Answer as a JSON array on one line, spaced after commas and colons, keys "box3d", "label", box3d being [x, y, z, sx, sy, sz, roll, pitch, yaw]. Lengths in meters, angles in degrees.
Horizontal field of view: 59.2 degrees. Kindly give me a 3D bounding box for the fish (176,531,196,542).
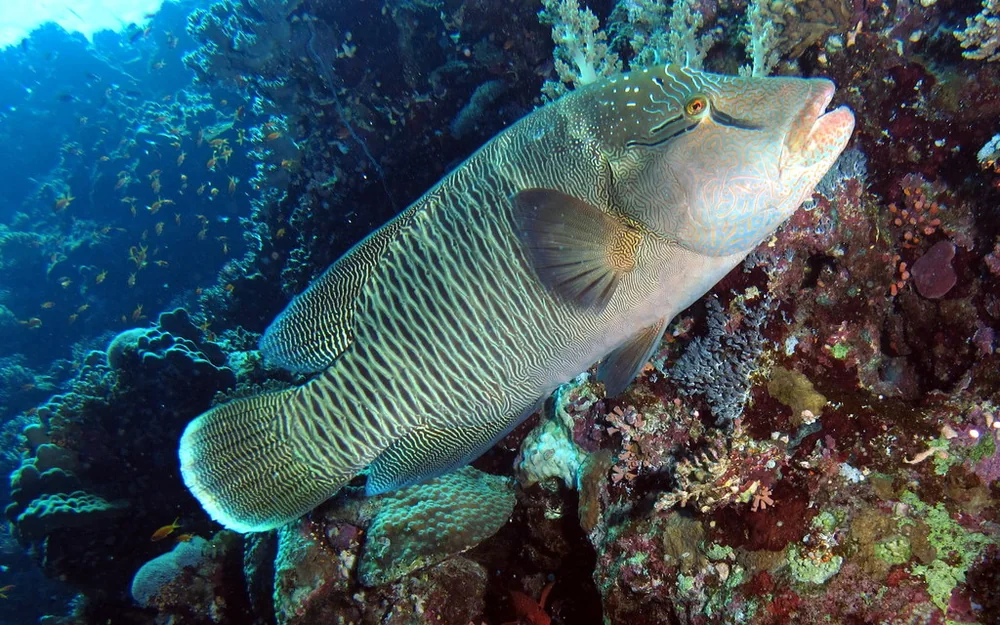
[{"box3d": [-7.019, 4.998, 19.739, 0.318, 0.174, 0.062, -23, 46, -37], "label": "fish"}]
